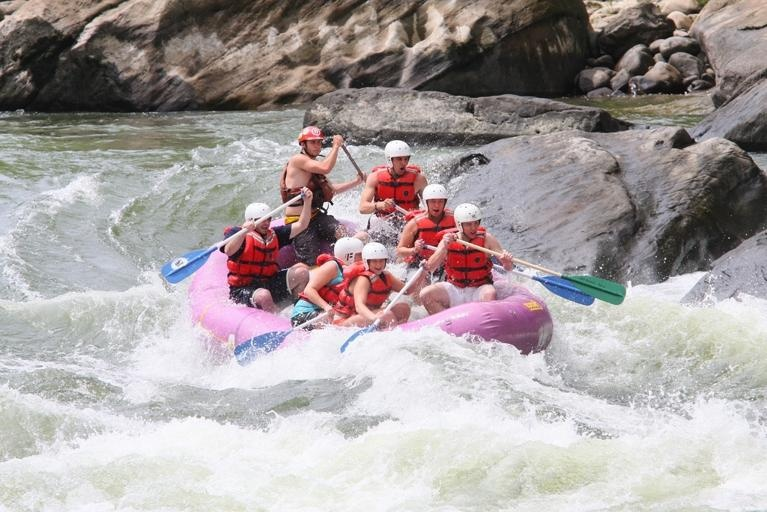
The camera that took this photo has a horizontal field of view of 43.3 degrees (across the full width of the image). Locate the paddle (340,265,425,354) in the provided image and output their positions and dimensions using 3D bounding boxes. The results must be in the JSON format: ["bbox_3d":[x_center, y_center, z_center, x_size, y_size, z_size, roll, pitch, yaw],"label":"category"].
[{"bbox_3d":[-0.050,0.708,12.389,1.417,0.294,0.066,-40,0,-34],"label":"paddle"}]

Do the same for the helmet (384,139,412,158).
[{"bbox_3d":[0.182,-1.583,14.376,0.293,0.242,0.349,-5,-6,-30],"label":"helmet"}]

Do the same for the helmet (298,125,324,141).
[{"bbox_3d":[-1.108,-1.817,14.049,0.296,0.177,0.412,-1,-3,-44],"label":"helmet"}]

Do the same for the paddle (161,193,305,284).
[{"bbox_3d":[-2.233,-0.220,14.329,2.717,0.357,0.226,-29,7,4],"label":"paddle"}]
